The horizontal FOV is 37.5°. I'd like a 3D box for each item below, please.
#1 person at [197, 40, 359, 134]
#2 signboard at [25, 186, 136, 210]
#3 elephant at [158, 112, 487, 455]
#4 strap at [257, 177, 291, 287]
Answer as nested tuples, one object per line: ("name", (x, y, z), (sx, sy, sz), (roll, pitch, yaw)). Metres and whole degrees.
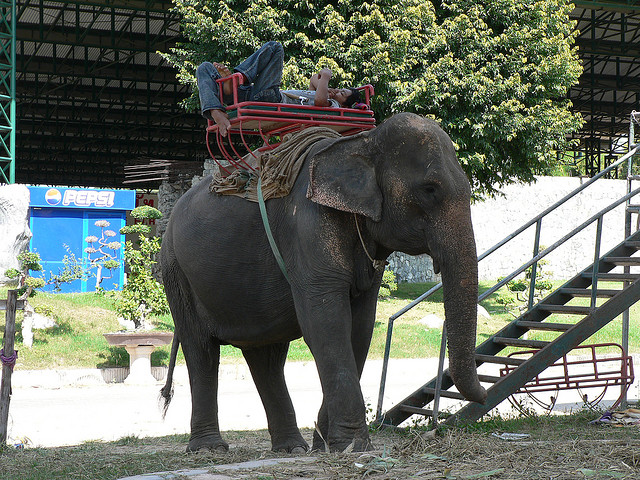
("person", (-0.662, -2.052, 13.165), (2.229, 1.360, 0.822), (0, 0, -18))
("signboard", (-7.745, -1.359, 31.009), (3.371, 0.800, 0.458), (-3, -2, -27))
("elephant", (-0.242, 0.824, 13.169), (5.280, 4.609, 2.332), (-8, -12, 32))
("strap", (-0.556, -0.093, 12.653), (0.367, 1.314, 0.381), (-11, 14, -40))
